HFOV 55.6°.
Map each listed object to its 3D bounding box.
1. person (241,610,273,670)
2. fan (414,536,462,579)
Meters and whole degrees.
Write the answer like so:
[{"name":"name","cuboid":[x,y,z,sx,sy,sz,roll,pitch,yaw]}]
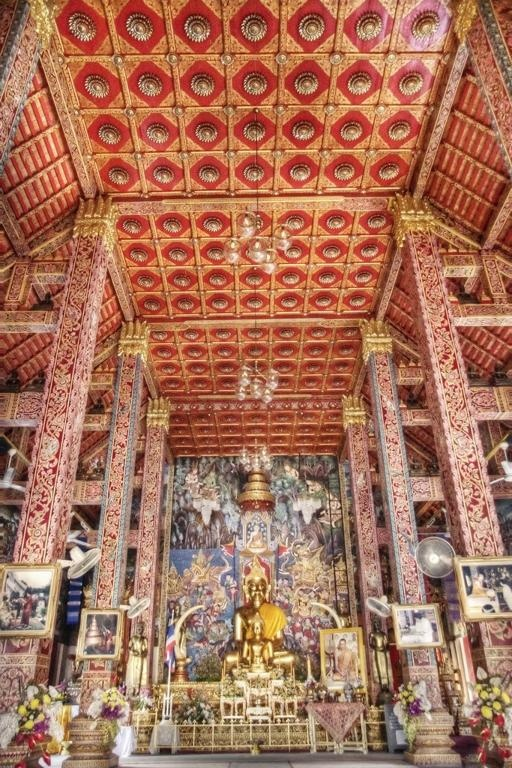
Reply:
[{"name":"person","cuboid":[0.022,5.369,10.176,0.725,1.123,0.656,7,-24,-14]},{"name":"fan","cuboid":[1.570,1.493,4.254,0.309,0.325,0.464,-11,-32,19]}]
